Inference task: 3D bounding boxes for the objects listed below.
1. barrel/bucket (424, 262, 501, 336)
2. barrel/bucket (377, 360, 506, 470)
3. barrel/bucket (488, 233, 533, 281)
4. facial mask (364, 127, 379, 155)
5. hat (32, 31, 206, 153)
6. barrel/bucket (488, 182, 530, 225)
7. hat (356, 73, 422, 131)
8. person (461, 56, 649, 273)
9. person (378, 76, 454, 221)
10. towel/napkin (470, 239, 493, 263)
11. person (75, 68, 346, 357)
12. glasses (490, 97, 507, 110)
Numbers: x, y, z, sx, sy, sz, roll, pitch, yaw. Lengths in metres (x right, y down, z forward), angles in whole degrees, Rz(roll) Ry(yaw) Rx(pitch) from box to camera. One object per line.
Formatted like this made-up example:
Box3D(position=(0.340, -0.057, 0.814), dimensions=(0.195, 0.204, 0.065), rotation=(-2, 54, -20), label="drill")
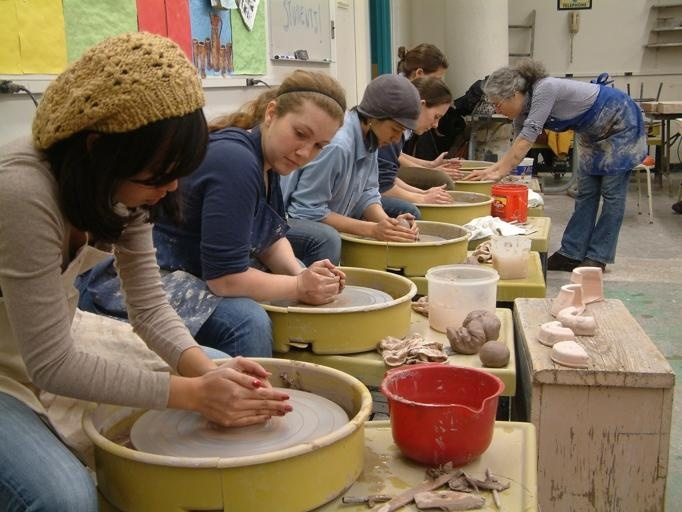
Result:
Box3D(position=(0.443, 0.149, 2.050), dimensions=(0.237, 0.206, 0.244), rotation=(-2, 11, 0), label="barrel/bucket")
Box3D(position=(0.238, 0.399, 1.381), dimensions=(0.268, 0.194, 0.312), rotation=(-6, 6, -21), label="barrel/bucket")
Box3D(position=(0.765, 0.006, 2.494), dimensions=(0.171, 0.227, 0.182), rotation=(1, 0, 0), label="barrel/bucket")
Box3D(position=(0.167, -0.611, 2.978), dimensions=(0.087, 0.107, 0.073), rotation=(-10, 9, 43), label="facial mask")
Box3D(position=(-0.488, -0.368, 1.235), dimensions=(0.353, 0.211, 0.323), rotation=(14, 31, 35), label="hat")
Box3D(position=(1.036, -0.314, 3.419), dimensions=(0.204, 0.250, 0.218), rotation=(-5, 15, 1), label="barrel/bucket")
Box3D(position=(0.243, -0.780, 2.873), dimensions=(0.287, 0.167, 0.223), rotation=(22, 30, 16), label="hat")
Box3D(position=(1.765, -0.661, 4.428), dimensions=(1.246, 1.714, 0.510), rotation=(-4, 16, -6), label="person")
Box3D(position=(0.500, -0.632, 3.883), dimensions=(0.557, 1.142, 0.351), rotation=(4, 19, 7), label="person")
Box3D(position=(0.695, -0.011, 2.738), dimensions=(0.090, 0.046, 0.122), rotation=(-3, 22, 35), label="towel/napkin")
Box3D(position=(-0.405, 0.037, 2.090), dimensions=(0.817, 1.464, 0.728), rotation=(9, 11, 5), label="person")
Box3D(position=(1.251, -1.215, 4.415), dimensions=(0.082, 0.112, 0.061), rotation=(-13, -21, -32), label="glasses")
